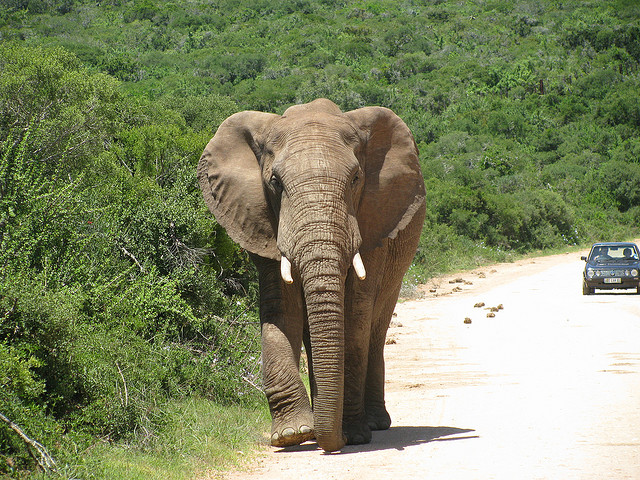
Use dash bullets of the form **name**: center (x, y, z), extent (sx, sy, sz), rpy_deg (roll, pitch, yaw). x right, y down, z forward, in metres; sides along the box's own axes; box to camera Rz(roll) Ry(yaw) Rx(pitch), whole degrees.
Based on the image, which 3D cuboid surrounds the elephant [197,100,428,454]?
- **elephant**: center (0.065, 0.455, 9.773), extent (2.743, 4.481, 2.156), rpy_deg (-2, 6, 1)
